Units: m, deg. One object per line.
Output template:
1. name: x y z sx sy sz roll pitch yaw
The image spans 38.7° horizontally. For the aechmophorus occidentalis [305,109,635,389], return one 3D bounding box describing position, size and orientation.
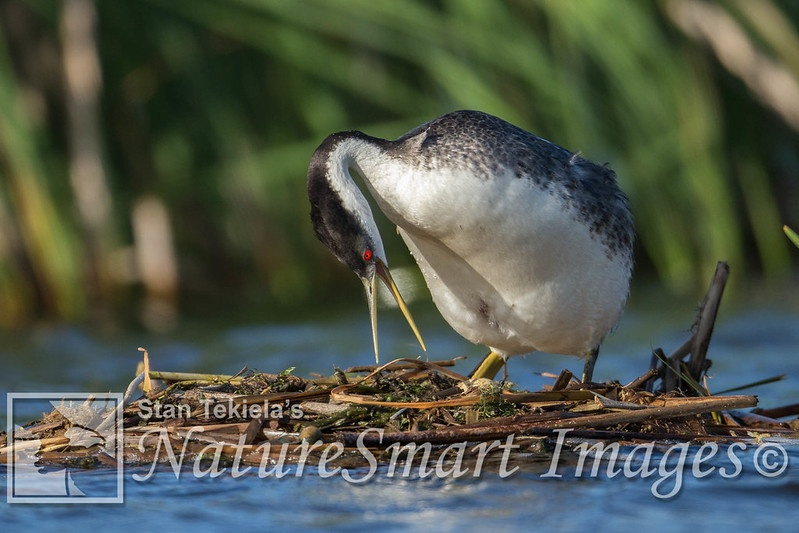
1. aechmophorus occidentalis: 0.371 -0.097 5.899 1.572 1.356 0.483 5 6 5
